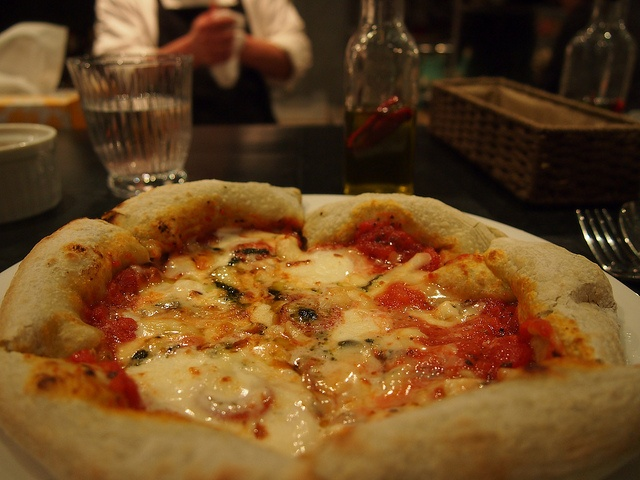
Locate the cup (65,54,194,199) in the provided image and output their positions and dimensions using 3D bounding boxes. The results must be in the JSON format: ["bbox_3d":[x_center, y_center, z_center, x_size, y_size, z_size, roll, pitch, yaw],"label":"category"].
[{"bbox_3d":[-0.749,-0.488,2.346,0.464,0.530,0.471,1,25,-1],"label":"cup"}]
